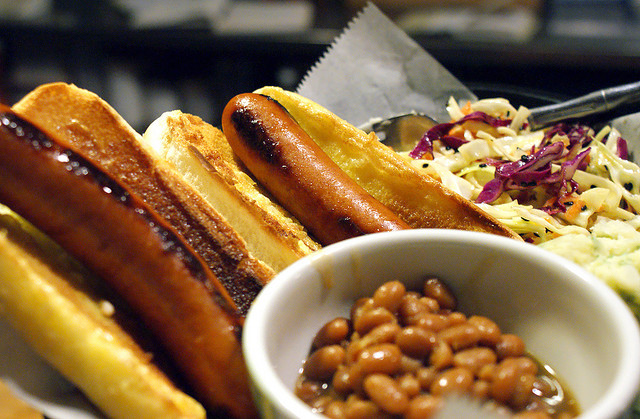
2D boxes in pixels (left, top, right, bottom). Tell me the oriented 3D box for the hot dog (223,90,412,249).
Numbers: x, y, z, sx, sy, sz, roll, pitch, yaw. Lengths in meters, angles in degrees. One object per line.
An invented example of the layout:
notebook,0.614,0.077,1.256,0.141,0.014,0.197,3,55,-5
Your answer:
hot dog,-0.018,-0.133,2.256,0.775,0.196,0.233,50,27,19
